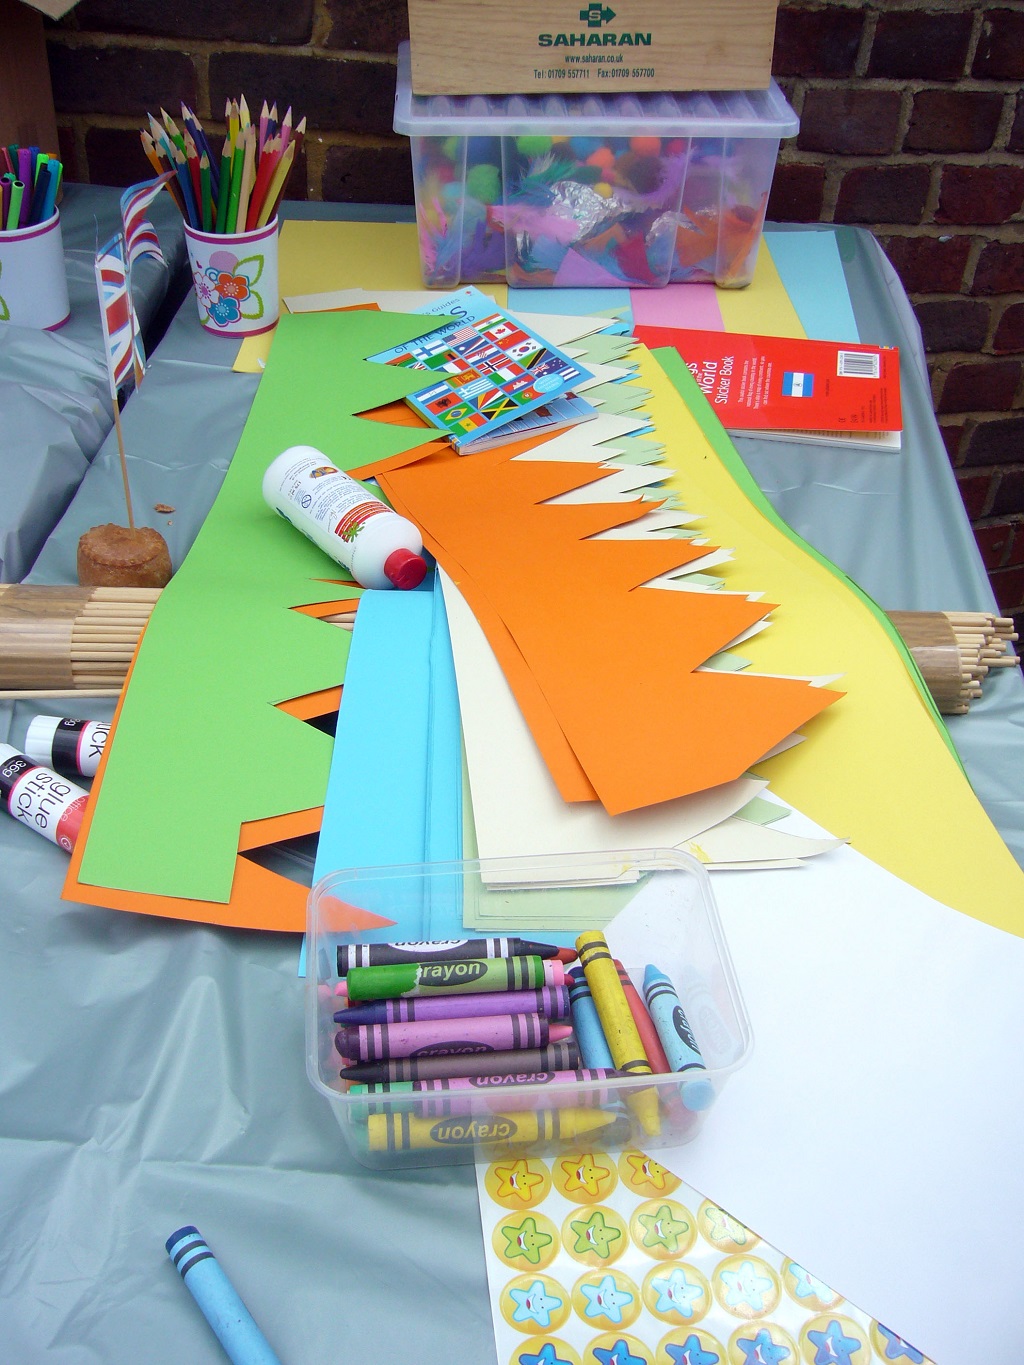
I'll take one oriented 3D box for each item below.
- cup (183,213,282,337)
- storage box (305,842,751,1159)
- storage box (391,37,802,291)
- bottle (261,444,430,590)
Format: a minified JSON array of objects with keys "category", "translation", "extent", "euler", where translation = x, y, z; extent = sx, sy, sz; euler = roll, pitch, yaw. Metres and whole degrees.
[{"category":"cup","translation":[-0.249,-0.381,1.015],"extent":[0.090,0.095,0.087],"euler":[-2,33,1]},{"category":"storage box","translation":[0.001,0.130,0.451],"extent":[0.160,0.055,0.106],"euler":[1,56,-6]},{"category":"storage box","translation":[0.071,-0.473,1.042],"extent":[0.339,0.156,0.217],"euler":[0,50,-1]},{"category":"bottle","translation":[-0.117,-0.112,0.768],"extent":[0.136,0.055,0.057],"euler":[38,44,24]}]
